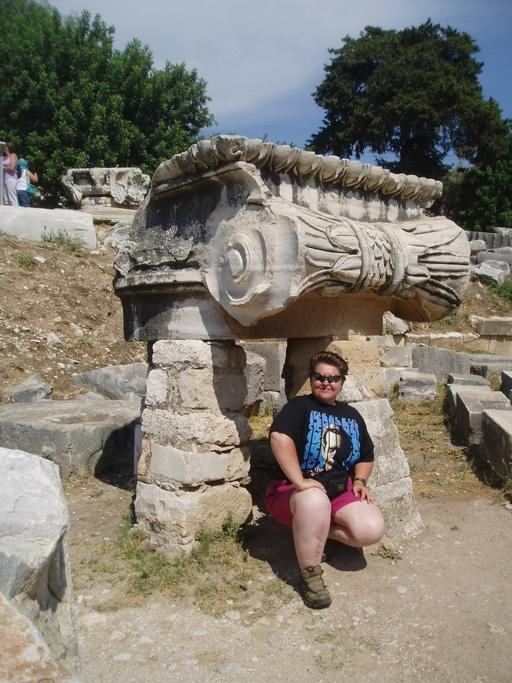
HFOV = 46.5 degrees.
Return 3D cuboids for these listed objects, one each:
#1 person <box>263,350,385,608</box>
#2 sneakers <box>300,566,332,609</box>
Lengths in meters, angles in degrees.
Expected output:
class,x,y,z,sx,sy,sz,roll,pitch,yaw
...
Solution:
class,x,y,z,sx,sy,sz,roll,pitch,yaw
person,0.320,0.666,2.658,0.513,0.833,0.506,-1,5,-6
sneakers,0.247,1.023,2.464,0.089,0.087,0.197,-2,-13,-5
